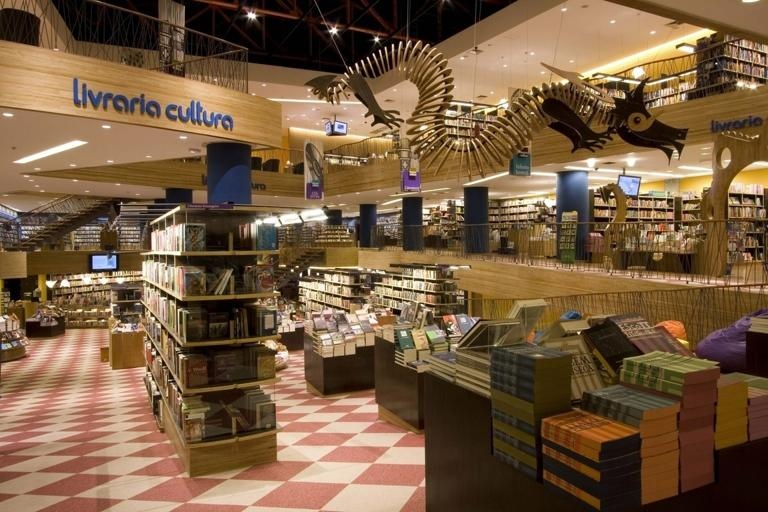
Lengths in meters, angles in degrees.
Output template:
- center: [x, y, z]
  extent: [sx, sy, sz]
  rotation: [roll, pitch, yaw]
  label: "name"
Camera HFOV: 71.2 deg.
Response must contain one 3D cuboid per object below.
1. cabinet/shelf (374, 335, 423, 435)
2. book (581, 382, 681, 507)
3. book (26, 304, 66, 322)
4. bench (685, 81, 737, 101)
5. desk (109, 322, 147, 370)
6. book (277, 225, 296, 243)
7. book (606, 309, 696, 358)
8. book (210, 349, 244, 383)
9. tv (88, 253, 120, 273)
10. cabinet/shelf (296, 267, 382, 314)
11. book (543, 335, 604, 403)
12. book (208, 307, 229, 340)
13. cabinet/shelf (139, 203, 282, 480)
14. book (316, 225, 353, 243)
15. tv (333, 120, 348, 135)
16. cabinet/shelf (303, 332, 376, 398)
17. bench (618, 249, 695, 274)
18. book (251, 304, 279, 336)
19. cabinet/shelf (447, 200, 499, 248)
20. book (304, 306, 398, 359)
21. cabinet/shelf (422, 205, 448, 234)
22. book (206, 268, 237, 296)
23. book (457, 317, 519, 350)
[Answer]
- center: [0.250, 2.013, 8.248]
  extent: [0.733, 1.288, 1.384]
  rotation: [2, -3, -22]
  label: "cabinet/shelf"
- center: [2.157, 1.637, 5.029]
  extent: [1.005, 0.745, 1.039]
  rotation: [-3, 3, -24]
  label: "book"
- center: [-11.680, 1.987, 18.651]
  extent: [1.129, 0.381, 0.790]
  rotation: [-2, -2, 41]
  label: "book"
- center: [7.527, -3.855, 12.396]
  extent: [0.387, 0.335, 1.160]
  rotation: [-4, 6, -16]
  label: "bench"
- center: [-6.348, 2.357, 13.327]
  extent: [0.819, 0.739, 0.602]
  rotation: [1, -8, -32]
  label: "desk"
- center: [-3.887, -0.759, 22.001]
  extent: [0.649, 0.817, 0.893]
  rotation: [3, -5, -34]
  label: "book"
- center: [2.881, 0.862, 5.784]
  extent: [0.601, 0.134, 0.591]
  rotation: [-1, 29, -28]
  label: "book"
- center: [-2.096, 1.432, 7.337]
  extent: [0.552, 0.499, 0.380]
  rotation: [2, -1, -39]
  label: "book"
- center: [-10.839, 0.243, 20.874]
  extent: [1.365, 1.092, 0.675]
  rotation: [1, -3, -36]
  label: "tv"
- center: [-1.895, 1.114, 20.566]
  extent: [0.909, 1.494, 4.451]
  rotation: [-1, 1, -31]
  label: "cabinet/shelf"
- center: [1.956, 1.140, 5.390]
  extent: [0.582, 0.129, 0.563]
  rotation: [0, 27, -5]
  label: "book"
- center: [-2.198, 0.941, 7.164]
  extent: [0.280, 0.349, 0.069]
  rotation: [-4, 5, -20]
  label: "book"
- center: [-2.377, 1.250, 7.430]
  extent: [1.320, 3.185, 3.794]
  rotation: [-2, 0, -24]
  label: "cabinet/shelf"
- center: [-2.054, -0.839, 21.675]
  extent: [1.445, 0.691, 0.459]
  rotation: [-4, 5, -19]
  label: "book"
- center: [-1.639, -4.733, 19.878]
  extent: [0.567, 0.421, 0.371]
  rotation: [-4, 6, -23]
  label: "tv"
- center: [-0.925, 1.978, 10.165]
  extent: [1.125, 0.742, 1.070]
  rotation: [0, 1, -29]
  label: "cabinet/shelf"
- center: [5.842, 0.134, 11.471]
  extent: [1.566, 0.424, 0.510]
  rotation: [6, 9, 26]
  label: "bench"
- center: [-1.629, 0.847, 7.445]
  extent: [0.507, 0.472, 0.365]
  rotation: [2, -5, -40]
  label: "book"
- center: [3.089, -0.751, 18.483]
  extent: [1.320, 1.696, 4.685]
  rotation: [0, -1, -9]
  label: "cabinet/shelf"
- center: [-0.609, 1.427, 10.087]
  extent: [1.295, 0.433, 0.932]
  rotation: [-2, 5, -34]
  label: "book"
- center: [2.325, -1.633, 24.130]
  extent: [0.735, 1.472, 1.568]
  rotation: [5, -6, -35]
  label: "cabinet/shelf"
- center: [-2.183, 0.363, 7.178]
  extent: [0.391, 0.159, 0.486]
  rotation: [-2, 1, -11]
  label: "book"
- center: [1.113, 0.822, 5.711]
  extent: [0.841, 0.298, 0.149]
  rotation: [-5, 6, -28]
  label: "book"
